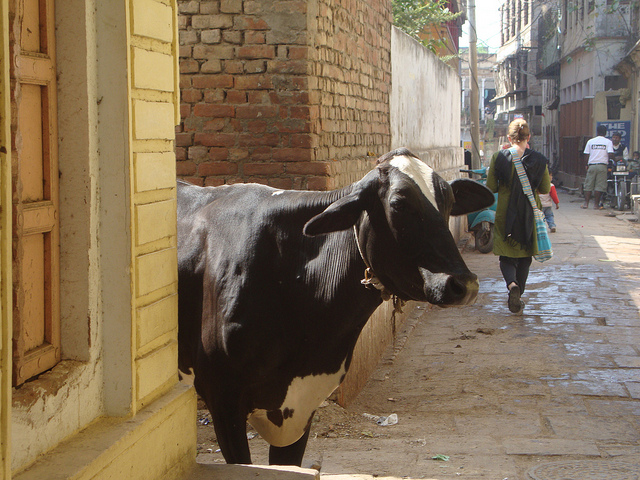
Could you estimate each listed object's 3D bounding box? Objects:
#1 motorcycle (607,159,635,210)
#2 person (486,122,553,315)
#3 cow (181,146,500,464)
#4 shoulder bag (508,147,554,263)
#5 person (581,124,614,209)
[{"bbox_3d":[7.458,-1.401,20.665,0.563,1.177,1.450,1,8,19],"label":"motorcycle"},{"bbox_3d":[2.185,-0.297,9.144,0.703,2.078,0.616,-9,18,-29],"label":"person"},{"bbox_3d":[-0.088,0.426,4.446,1.807,1.784,0.622,2,9,29],"label":"cow"},{"bbox_3d":[2.332,-0.291,8.993,0.350,1.402,0.328,-14,-4,-19],"label":"shoulder bag"},{"bbox_3d":[7.042,-1.827,21.017,0.730,2.096,1.184,1,8,19],"label":"person"}]
